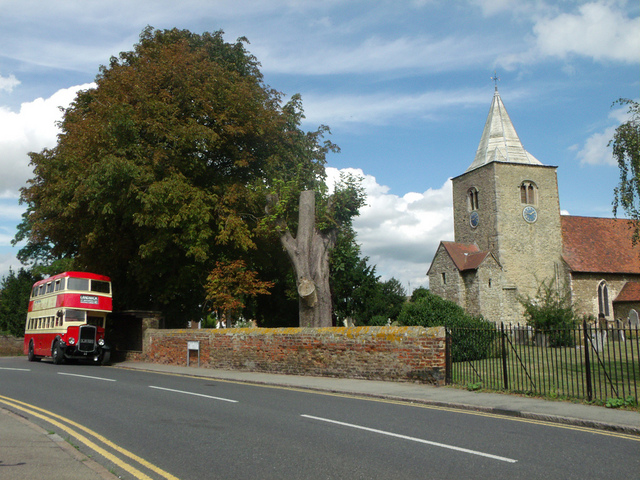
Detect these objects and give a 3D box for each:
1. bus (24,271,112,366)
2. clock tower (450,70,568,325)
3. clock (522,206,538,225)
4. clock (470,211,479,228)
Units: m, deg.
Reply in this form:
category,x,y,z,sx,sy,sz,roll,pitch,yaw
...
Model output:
category,x,y,z,sx,sy,sz,roll,pitch,yaw
bus,-13.844,4.235,30.513,2.798,4.332,8.048,6,-11,-38
clock tower,16.945,-3.502,49.262,7.055,20.866,6.892,0,-2,-21
clock,17.774,-2.099,47.676,1.521,1.540,0.189,1,-2,-25
clock,13.506,-1.795,49.335,0.166,1.279,1.276,-2,-9,-11
